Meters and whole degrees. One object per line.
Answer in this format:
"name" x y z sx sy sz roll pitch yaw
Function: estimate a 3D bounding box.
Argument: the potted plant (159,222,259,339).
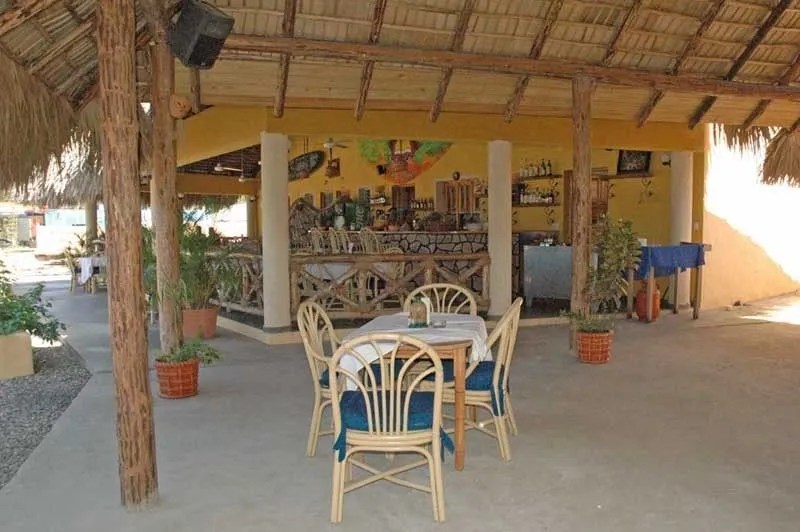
"potted plant" -3.294 0.119 9.559 1.907 1.950 1.614 -3 4 -44

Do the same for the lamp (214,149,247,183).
"lamp" -5.428 -3.222 18.088 1.133 0.925 2.575 -4 11 -14

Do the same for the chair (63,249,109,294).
"chair" -8.309 0.164 14.865 0.799 1.182 1.176 -2 6 -19

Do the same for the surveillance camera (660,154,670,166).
"surveillance camera" 5.262 -2.098 11.157 0.200 0.149 0.217 -1 3 -16

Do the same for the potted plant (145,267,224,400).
"potted plant" -2.450 0.872 6.646 0.745 1.195 0.564 4 3 -34

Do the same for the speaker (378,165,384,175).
"speaker" -0.561 -2.773 16.195 0.173 0.244 0.218 -1 5 -13
